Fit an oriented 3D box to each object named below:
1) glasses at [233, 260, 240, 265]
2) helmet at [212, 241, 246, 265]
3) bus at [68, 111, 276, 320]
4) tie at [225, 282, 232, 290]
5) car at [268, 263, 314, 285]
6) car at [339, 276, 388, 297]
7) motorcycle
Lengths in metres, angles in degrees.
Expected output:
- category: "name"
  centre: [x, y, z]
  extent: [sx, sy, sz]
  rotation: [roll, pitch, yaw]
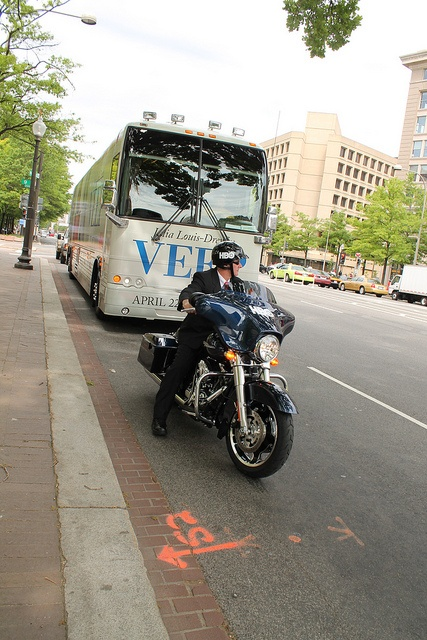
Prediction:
- category: "glasses"
  centre: [0.203, -0.540, 3.706]
  extent: [0.045, 0.028, 0.067]
  rotation: [3, -3, -7]
- category: "helmet"
  centre: [0.150, -0.621, 3.748]
  extent: [0.258, 0.210, 0.207]
  rotation: [14, -6, -19]
- category: "bus"
  centre: [-1.395, -2.360, 10.206]
  extent: [2.419, 3.103, 6.655]
  rotation: [3, 4, -15]
- category: "tie"
  centre: [0.145, -0.321, 3.802]
  extent: [0.061, 0.092, 0.026]
  rotation: [3, -9, -25]
- category: "car"
  centre: [9.984, -5.930, 51.370]
  extent: [2.476, 1.909, 5.656]
  rotation: [0, 13, -19]
- category: "car"
  centre: [16.700, -3.816, 45.800]
  extent: [2.249, 1.633, 5.281]
  rotation: [1, 14, -19]
- category: "motorcycle"
  centre: [0.107, 0.400, 3.424]
  extent: [0.778, 1.512, 1.531]
  rotation: [10, -2, -23]
